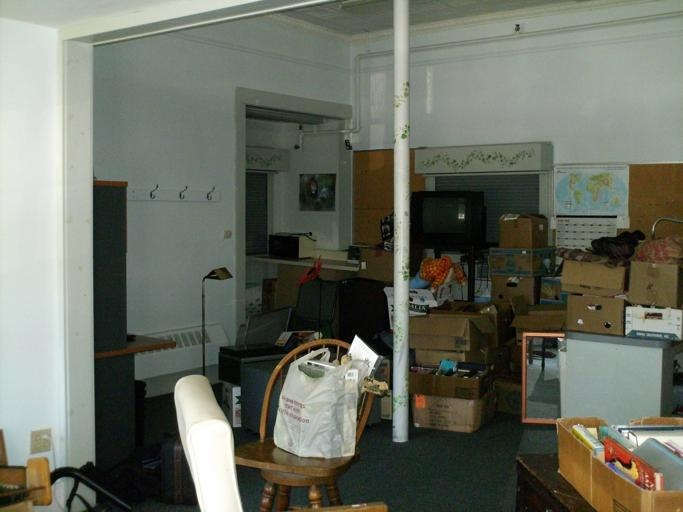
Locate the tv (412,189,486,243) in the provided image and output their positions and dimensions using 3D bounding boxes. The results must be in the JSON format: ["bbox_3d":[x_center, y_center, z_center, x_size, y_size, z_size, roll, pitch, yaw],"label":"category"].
[{"bbox_3d":[1.125,-0.380,7.107,0.850,0.630,0.832,0,-4,-2],"label":"tv"}]

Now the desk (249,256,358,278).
[{"bbox_3d":[-0.399,0.118,7.723,1.385,0.212,0.534,4,10,15],"label":"desk"}]
